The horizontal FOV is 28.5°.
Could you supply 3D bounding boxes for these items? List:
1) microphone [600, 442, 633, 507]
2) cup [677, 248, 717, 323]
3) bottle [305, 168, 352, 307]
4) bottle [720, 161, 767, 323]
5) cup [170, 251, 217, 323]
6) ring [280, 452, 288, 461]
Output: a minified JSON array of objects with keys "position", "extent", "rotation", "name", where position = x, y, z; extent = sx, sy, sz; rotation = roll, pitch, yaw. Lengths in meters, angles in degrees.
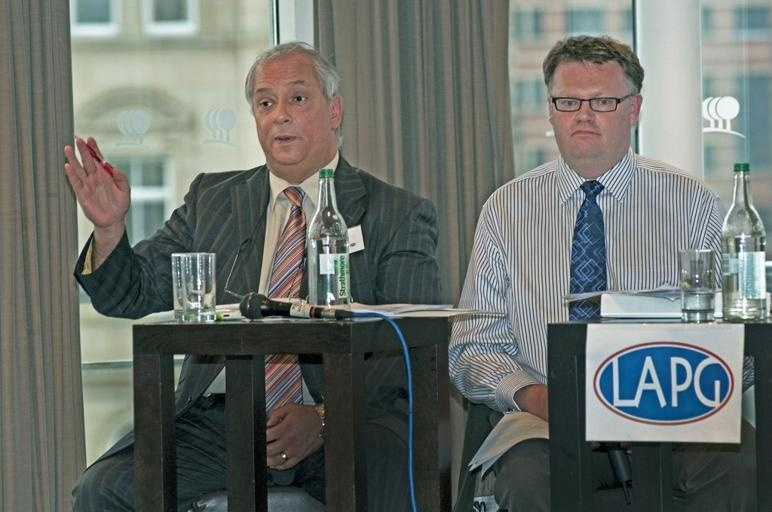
[{"position":[0.949,0.905,6.235],"extent":[0.097,0.240,0.078],"rotation":[-15,-9,14],"name":"microphone"},{"position":[1.232,0.123,6.005],"extent":[0.136,0.291,0.136],"rotation":[-2,0,0],"name":"cup"},{"position":[-0.238,-0.076,6.181],"extent":[0.173,0.550,0.278],"rotation":[-2,0,-3],"name":"bottle"},{"position":[1.421,-0.059,6.057],"extent":[0.168,0.631,0.160],"rotation":[-2,0,0],"name":"bottle"},{"position":[-0.763,0.127,6.065],"extent":[0.239,0.394,0.230],"rotation":[-1,-5,0],"name":"cup"},{"position":[-0.424,0.846,6.355],"extent":[0.023,0.038,0.033],"rotation":[0,-8,-16],"name":"ring"}]
